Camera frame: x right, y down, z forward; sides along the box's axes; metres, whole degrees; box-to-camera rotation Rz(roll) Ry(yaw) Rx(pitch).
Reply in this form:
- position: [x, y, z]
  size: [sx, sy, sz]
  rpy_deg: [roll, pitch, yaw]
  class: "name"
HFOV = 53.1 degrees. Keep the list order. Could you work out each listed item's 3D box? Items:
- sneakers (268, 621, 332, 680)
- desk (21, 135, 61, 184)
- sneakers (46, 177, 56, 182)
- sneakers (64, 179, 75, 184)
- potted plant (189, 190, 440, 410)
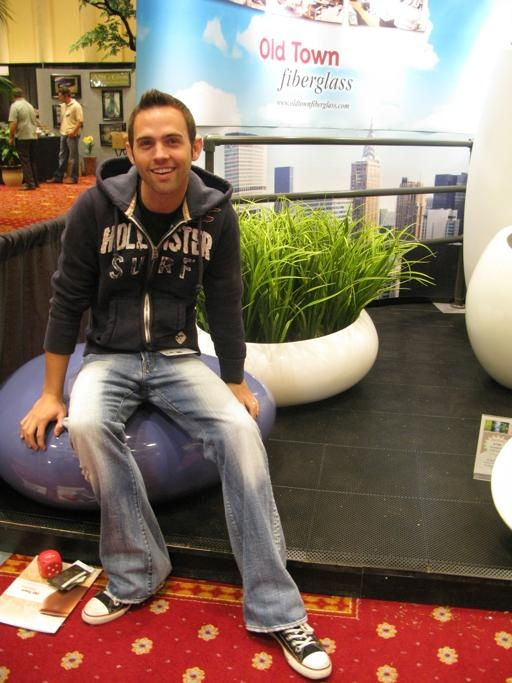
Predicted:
- position: [0.084, 0.524, 0.877]
  size: [0.041, 0.039, 0.110]
  rpy_deg: [-6, -5, -18]
  class: "sneakers"
- position: [-2.976, -2.512, 7.263]
  size: [0.495, 0.730, 0.458]
  rpy_deg: [0, 20, -5]
  class: "desk"
- position: [-2.861, -2.224, 7.146]
  size: [0.119, 0.044, 0.153]
  rpy_deg: [-10, 33, -23]
  class: "sneakers"
- position: [-2.559, -2.166, 7.003]
  size: [0.150, 0.053, 0.102]
  rpy_deg: [-8, 6, -21]
  class: "sneakers"
- position: [0.190, -0.156, 2.015]
  size: [0.866, 0.546, 0.762]
  rpy_deg: [-7, 20, -20]
  class: "potted plant"
